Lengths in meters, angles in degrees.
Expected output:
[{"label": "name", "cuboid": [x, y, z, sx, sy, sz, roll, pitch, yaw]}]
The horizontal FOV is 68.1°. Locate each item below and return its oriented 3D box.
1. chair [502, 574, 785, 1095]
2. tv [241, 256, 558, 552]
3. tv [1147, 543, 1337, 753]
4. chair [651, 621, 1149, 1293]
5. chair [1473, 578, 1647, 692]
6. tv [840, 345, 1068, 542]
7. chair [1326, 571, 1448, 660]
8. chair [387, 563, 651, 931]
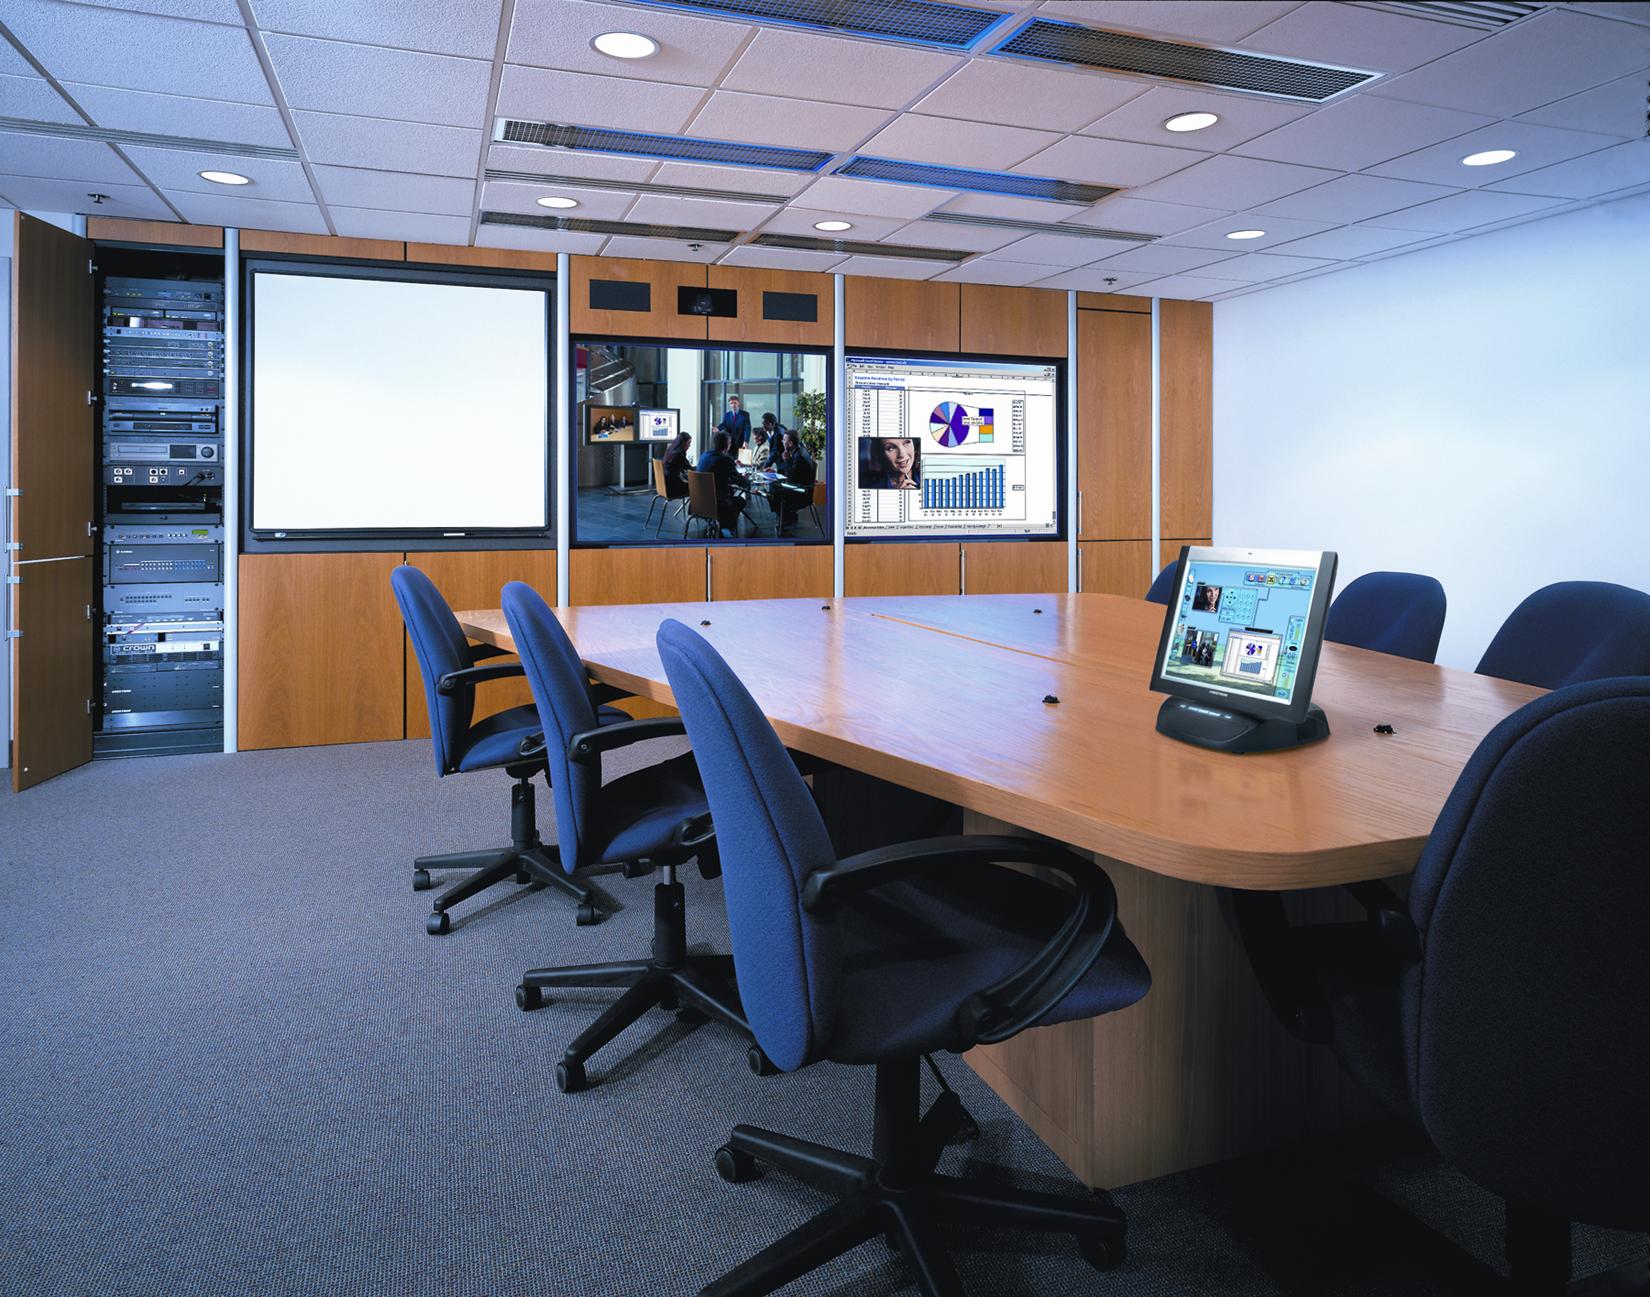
[{"label": "chair", "cuboid": [-0.464, 0.433, 3.538, 0.868, 1.280, 0.963, -5, 4, -24]}, {"label": "tv", "cuboid": [-2.487, -1.427, 6.927, 1.659, 1.614, 0.166, -1, 6, -20]}, {"label": "tv", "cuboid": [0.940, -0.006, 2.796, 0.328, 0.434, 0.428, -6, 12, -32]}, {"label": "chair", "cuboid": [0.181, 0.617, 3.115, 1.215, 1.750, 1.223, -2, 0, -13]}, {"label": "chair", "cuboid": [2.116, -0.050, 3.472, 0.399, 0.455, 0.337, -5, 4, -24]}, {"label": "tv", "cuboid": [0.816, -1.443, 8.319, 1.308, 0.978, 0.131, 0, 0, -17]}, {"label": "chair", "cuboid": [1.917, -0.124, 4.186, 0.340, 0.436, 0.323, -3, 6, -28]}, {"label": "chair", "cuboid": [-1.125, 0.289, 4.367, 0.883, 1.223, 0.966, -7, 5, -39]}]
